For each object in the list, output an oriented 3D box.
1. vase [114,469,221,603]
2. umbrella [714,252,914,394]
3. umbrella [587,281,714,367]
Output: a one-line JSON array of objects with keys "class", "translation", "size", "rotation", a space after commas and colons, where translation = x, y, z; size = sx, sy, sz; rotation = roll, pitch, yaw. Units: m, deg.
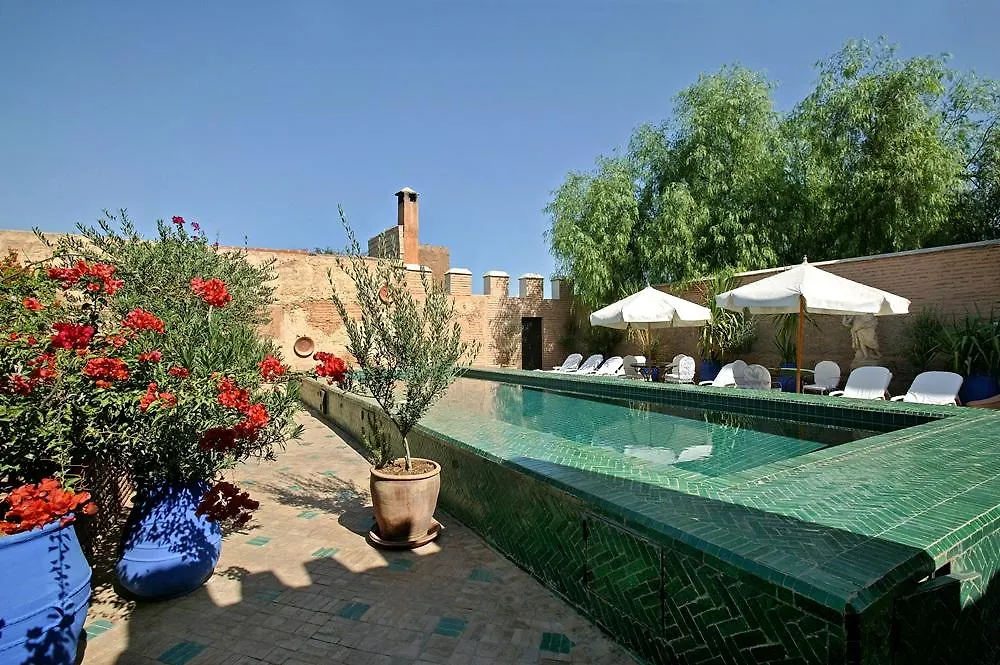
[{"class": "vase", "translation": [-3.036, 1.927, 5.619], "size": [0.965, 0.960, 1.007], "rotation": [-1, -5, 9]}, {"class": "umbrella", "translation": [5.136, -0.126, 9.601], "size": [2.643, 2.155, 1.172], "rotation": [-1, 8, 33]}, {"class": "umbrella", "translation": [3.359, -0.401, 12.756], "size": [2.133, 1.603, 2.186], "rotation": [0, 4, 23]}]
